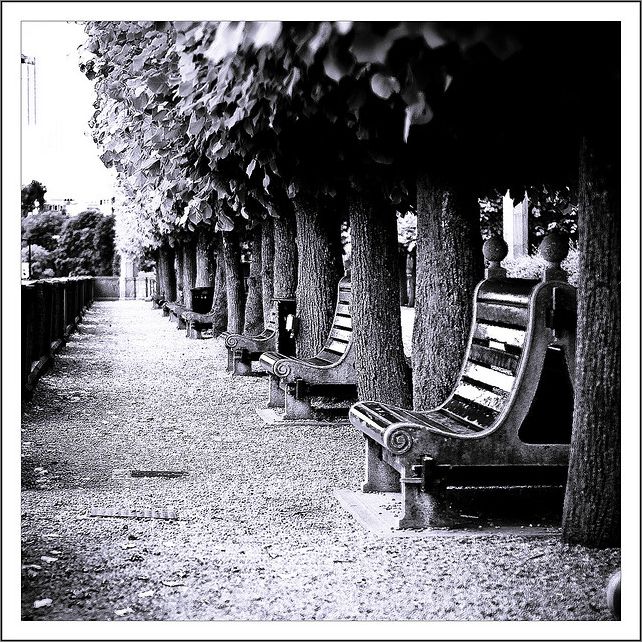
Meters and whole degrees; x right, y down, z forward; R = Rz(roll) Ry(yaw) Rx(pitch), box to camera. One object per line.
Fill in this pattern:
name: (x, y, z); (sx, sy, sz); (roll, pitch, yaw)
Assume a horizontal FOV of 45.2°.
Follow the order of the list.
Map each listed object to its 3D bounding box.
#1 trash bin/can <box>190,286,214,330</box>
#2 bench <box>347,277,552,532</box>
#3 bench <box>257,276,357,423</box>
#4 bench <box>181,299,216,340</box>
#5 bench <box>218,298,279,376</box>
trash bin/can: (-3.761, -0.527, 24.641); (0.789, 1.056, 0.896); (0, 0, 25)
bench: (0.935, 0.494, 5.451); (1.003, 1.793, 1.938); (6, -3, -4)
bench: (-0.294, 0.503, 9.195); (1.111, 2.213, 1.566); (1, -1, -10)
bench: (-3.402, 0.077, 21.232); (0.831, 0.851, 1.467); (0, 3, -12)
bench: (-1.081, 0.232, 12.420); (0.772, 1.365, 0.813); (4, 1, -11)
